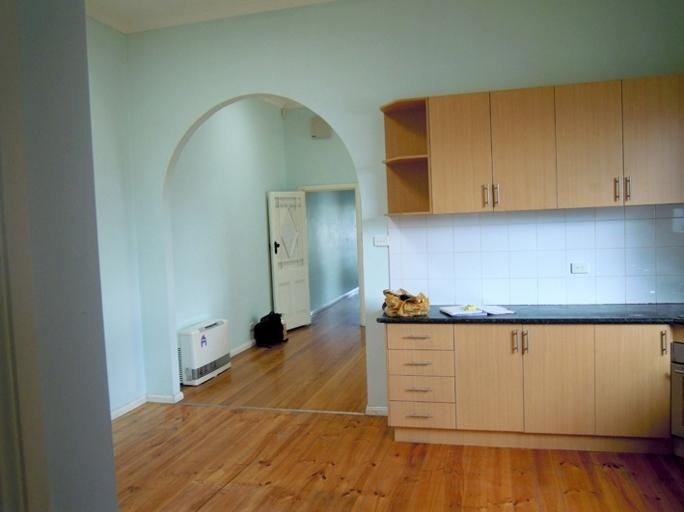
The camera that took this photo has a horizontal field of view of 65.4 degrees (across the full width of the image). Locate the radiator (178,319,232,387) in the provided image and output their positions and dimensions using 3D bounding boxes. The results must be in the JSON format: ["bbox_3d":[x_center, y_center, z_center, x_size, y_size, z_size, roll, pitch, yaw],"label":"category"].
[{"bbox_3d":[-1.340,0.929,5.166,0.237,0.501,0.691,-2,3,15],"label":"radiator"}]

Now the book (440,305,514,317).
[{"bbox_3d":[0.878,0.344,3.499,0.467,0.041,0.431,-2,4,9],"label":"book"}]

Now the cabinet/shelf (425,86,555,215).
[{"bbox_3d":[0.944,-0.664,3.356,0.763,0.735,0.302,-1,5,11],"label":"cabinet/shelf"}]

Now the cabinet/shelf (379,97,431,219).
[{"bbox_3d":[0.431,-0.661,3.640,0.301,0.752,0.392,-3,5,5],"label":"cabinet/shelf"}]
